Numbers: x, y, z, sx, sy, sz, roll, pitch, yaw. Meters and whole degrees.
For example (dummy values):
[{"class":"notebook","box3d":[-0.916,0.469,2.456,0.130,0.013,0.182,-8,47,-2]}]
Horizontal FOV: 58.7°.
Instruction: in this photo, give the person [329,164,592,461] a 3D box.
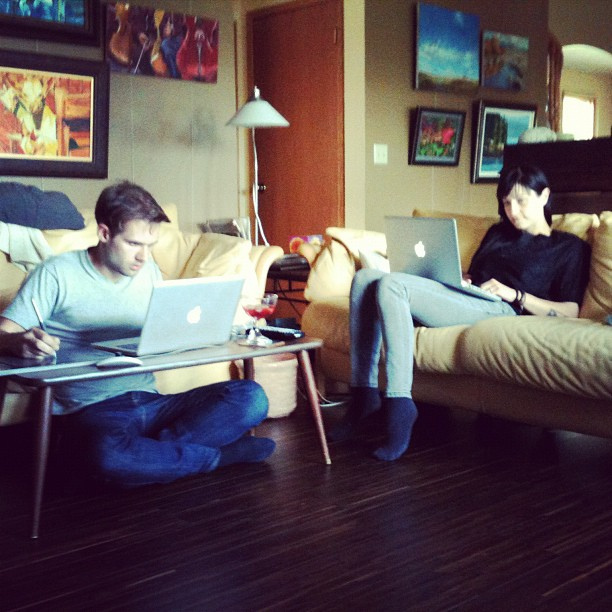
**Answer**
[{"class":"person","box3d":[0.627,-0.031,2.328,1.004,1.100,0.574,-1,11,-13]}]

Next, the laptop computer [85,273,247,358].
[{"class":"laptop computer","box3d":[-0.392,0.020,1.543,0.347,0.189,0.345,-6,8,-40]}]

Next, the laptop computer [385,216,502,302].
[{"class":"laptop computer","box3d":[0.536,-0.186,1.987,0.435,0.291,0.525,7,8,35]}]

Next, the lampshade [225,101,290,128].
[{"class":"lampshade","box3d":[-0.322,-1.266,3.646,0.259,0.091,0.251,2,14,10]}]
